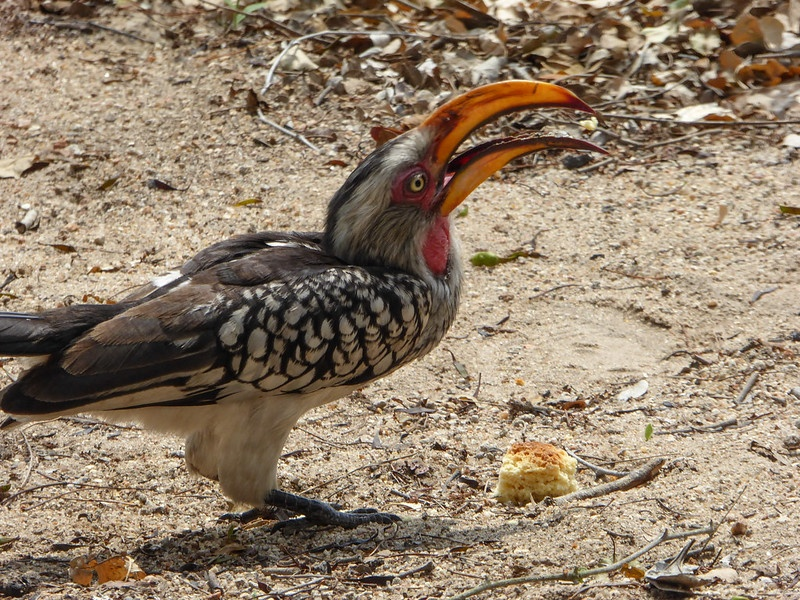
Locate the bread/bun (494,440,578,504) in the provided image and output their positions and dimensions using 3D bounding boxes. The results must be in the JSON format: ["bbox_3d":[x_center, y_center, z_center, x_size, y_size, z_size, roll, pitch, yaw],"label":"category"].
[{"bbox_3d":[0.625,0.843,4.650,0.484,0.210,0.357,-1,2,-12],"label":"bread/bun"}]

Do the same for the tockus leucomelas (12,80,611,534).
[{"bbox_3d":[-0.723,-0.032,4.425,2.090,2.248,1.010,9,27,-15],"label":"tockus leucomelas"}]
